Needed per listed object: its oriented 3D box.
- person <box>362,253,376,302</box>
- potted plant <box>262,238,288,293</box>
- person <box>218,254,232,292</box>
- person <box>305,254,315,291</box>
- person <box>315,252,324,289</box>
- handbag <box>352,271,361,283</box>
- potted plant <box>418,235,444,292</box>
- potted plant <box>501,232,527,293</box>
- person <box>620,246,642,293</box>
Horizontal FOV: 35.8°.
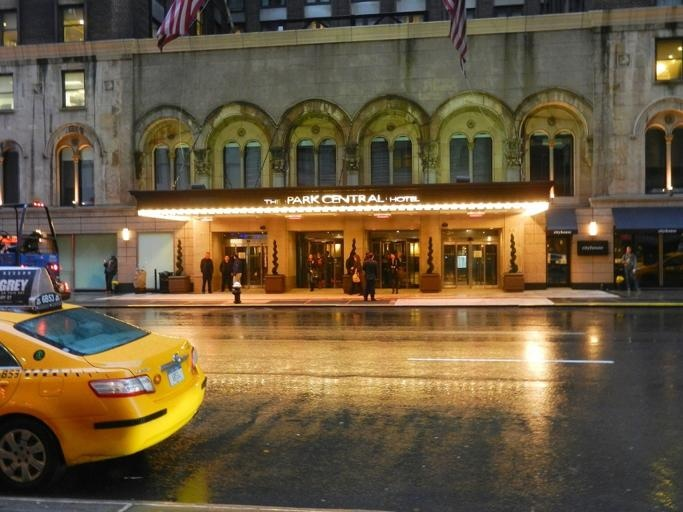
[{"bbox_3d":[1.240,0.944,46.579,0.555,2.082,0.882,-2,3,2],"label":"person"},{"bbox_3d":[-3.227,0.549,51.536,0.952,2.625,0.938,0,-2,3],"label":"potted plant"},{"bbox_3d":[-5.654,0.932,51.907,0.555,1.734,1.357,-3,3,-6],"label":"person"},{"bbox_3d":[-1.473,0.820,52.230,0.373,1.723,1.288,-2,3,-1],"label":"person"},{"bbox_3d":[-1.060,0.730,52.164,0.332,1.747,0.711,-2,3,6],"label":"person"},{"bbox_3d":[0.683,1.029,48.638,0.317,0.551,0.535,2,-8,-2],"label":"handbag"},{"bbox_3d":[4.212,0.421,50.497,0.990,2.641,0.901,-2,3,4],"label":"potted plant"},{"bbox_3d":[8.027,0.329,49.642,0.965,2.685,0.932,-2,3,9],"label":"potted plant"},{"bbox_3d":[13.359,0.621,48.759,0.700,2.042,1.430,-1,3,15],"label":"person"}]
